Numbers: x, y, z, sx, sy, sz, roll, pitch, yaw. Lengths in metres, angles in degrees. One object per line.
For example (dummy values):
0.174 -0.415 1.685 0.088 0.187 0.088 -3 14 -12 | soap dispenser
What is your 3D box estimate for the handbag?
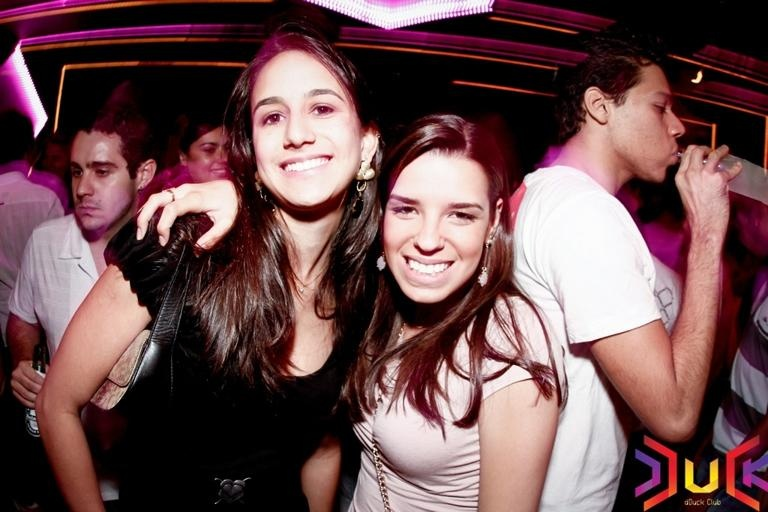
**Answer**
-1.352 0.317 3.347 0.573 1.103 0.313 2 7 -4 | handbag
